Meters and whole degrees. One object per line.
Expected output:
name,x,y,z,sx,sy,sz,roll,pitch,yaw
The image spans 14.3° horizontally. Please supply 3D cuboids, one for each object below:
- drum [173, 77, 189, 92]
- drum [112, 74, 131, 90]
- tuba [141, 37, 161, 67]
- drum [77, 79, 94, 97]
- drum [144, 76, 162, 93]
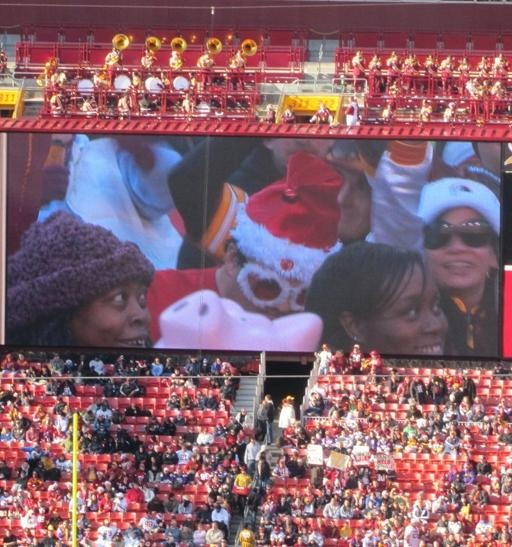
drum,-2.234,-6.021,62.185,0.507,0.421,0.696,3,10,-3
drum,-4.048,-6.082,62.567,0.542,0.448,0.843,3,10,-4
tuba,-3.278,-7.255,64.494,0.674,0.740,1.124,-12,-17,-11
drum,-5.189,-5.934,62.589,0.493,0.444,0.689,3,10,-6
drum,-3.074,-5.969,62.110,0.463,0.505,0.438,8,7,-33
